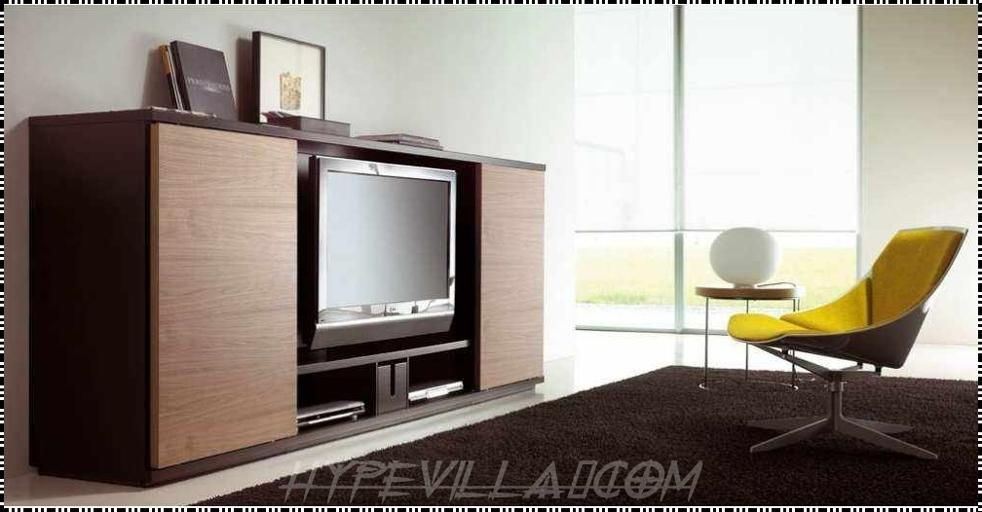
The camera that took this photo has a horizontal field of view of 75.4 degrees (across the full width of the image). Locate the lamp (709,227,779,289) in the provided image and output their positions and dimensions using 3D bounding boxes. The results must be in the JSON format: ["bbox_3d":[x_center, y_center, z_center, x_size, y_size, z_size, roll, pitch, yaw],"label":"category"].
[{"bbox_3d":[2.161,0.061,5.394,0.673,0.464,0.594,2,11,19],"label":"lamp"}]

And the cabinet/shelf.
[{"bbox_3d":[-1.379,0.309,4.042,0.847,1.373,3.114,-1,0,35],"label":"cabinet/shelf"}]

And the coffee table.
[{"bbox_3d":[2.076,0.507,4.865,0.554,0.402,0.499,8,16,4],"label":"coffee table"}]
